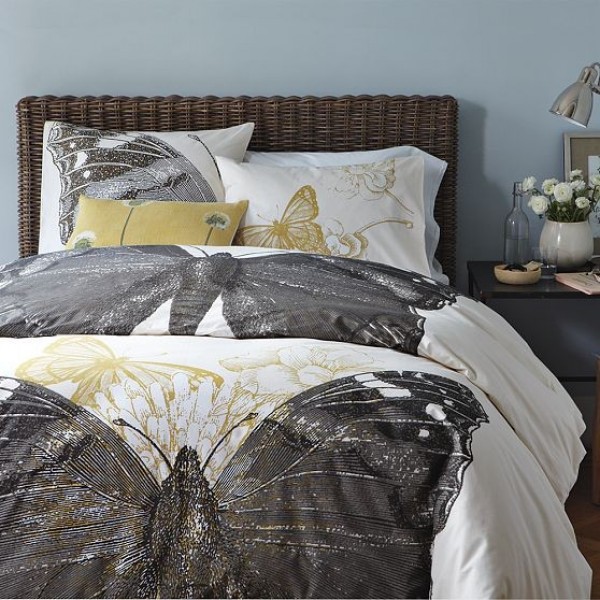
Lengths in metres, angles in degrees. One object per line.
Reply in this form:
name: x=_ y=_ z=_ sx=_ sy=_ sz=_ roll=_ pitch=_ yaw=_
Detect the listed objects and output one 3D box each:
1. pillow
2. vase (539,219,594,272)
pillow: x=-0.202 y=-0.326 z=2.265 sx=1.410 sy=0.536 sz=0.687 roll=2 pitch=17 yaw=8
vase: x=0.860 y=-0.184 z=2.241 sx=0.208 sy=0.141 sz=0.180 roll=1 pitch=6 yaw=14
